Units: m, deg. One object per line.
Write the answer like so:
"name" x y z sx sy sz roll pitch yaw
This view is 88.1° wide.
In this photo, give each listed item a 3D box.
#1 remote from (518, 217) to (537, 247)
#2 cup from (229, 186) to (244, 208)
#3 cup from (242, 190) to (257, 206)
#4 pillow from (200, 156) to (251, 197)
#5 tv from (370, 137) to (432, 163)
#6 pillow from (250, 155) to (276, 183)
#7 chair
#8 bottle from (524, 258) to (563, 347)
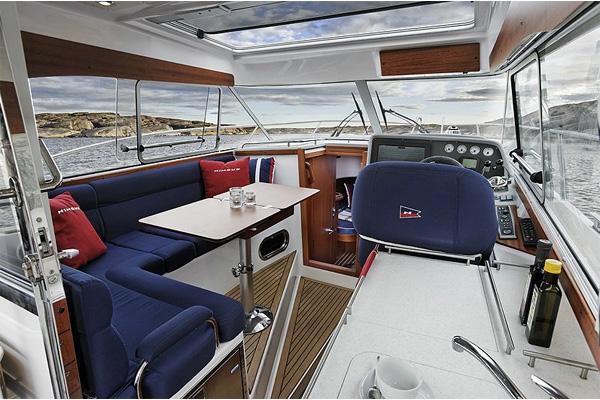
"remote" 1.314 0.177 1.802 0.073 0.044 0.235 2 27 17
"cup" -0.566 -0.033 2.805 0.187 0.183 0.171 0 17 0
"cup" -0.457 -0.031 2.832 0.139 0.139 0.135 0 13 0
"pillow" -0.937 -0.337 3.918 0.643 0.505 0.227 -12 31 -23
"tv" 0.996 -0.518 3.092 0.570 0.252 0.084 4 15 21
"pillow" -0.470 -0.392 3.926 0.417 0.256 0.145 0 25 17
"chair" 0.825 0.149 2.040 0.860 0.726 0.689 7 7 33
"bottle" 0.856 0.356 1.086 0.080 0.309 0.101 10 18 39
